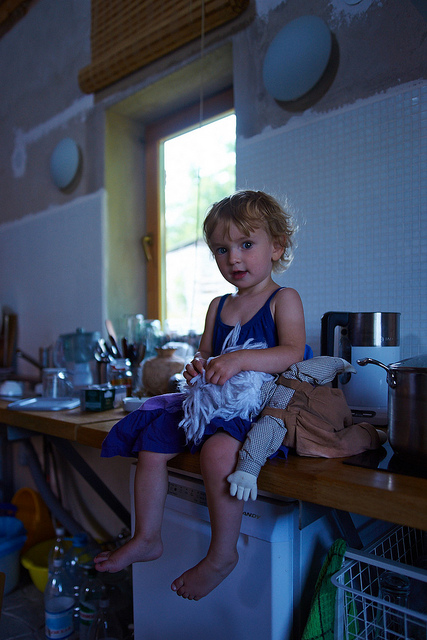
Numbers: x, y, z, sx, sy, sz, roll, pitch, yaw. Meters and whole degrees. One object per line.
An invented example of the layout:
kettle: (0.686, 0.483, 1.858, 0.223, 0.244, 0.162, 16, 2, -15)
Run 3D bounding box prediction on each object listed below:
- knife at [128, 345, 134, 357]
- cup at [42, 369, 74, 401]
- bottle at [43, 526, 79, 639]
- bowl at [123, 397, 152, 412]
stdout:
knife: (-0.257, 0.096, 1.561, 0.008, 0.030, 0.021, 0, -3, 5)
cup: (-0.531, 0.215, 1.729, 0.096, 0.106, 0.134, -2, 0, -29)
bottle: (-0.456, 0.756, 1.491, 0.091, 0.324, 0.207, -2, 0, -20)
bowl: (-0.204, 0.215, 1.310, 0.059, 0.021, 0.062, 1, 0, 0)
